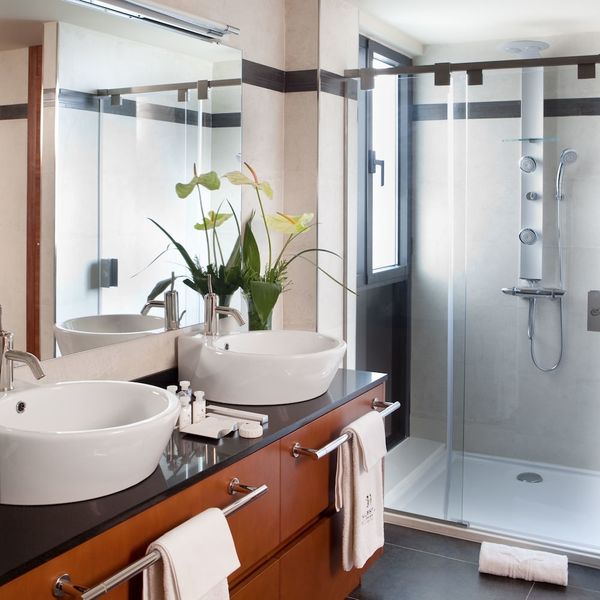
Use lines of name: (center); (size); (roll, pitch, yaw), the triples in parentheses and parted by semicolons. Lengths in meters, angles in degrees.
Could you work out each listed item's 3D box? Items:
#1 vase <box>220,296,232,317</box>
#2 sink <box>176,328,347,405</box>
vase: (-0.289, 0.023, 2.154); (0.057, 0.079, 0.058); (4, 8, 20)
sink: (-0.139, 0.228, 1.829); (0.322, 0.137, 0.326); (1, 5, 19)
